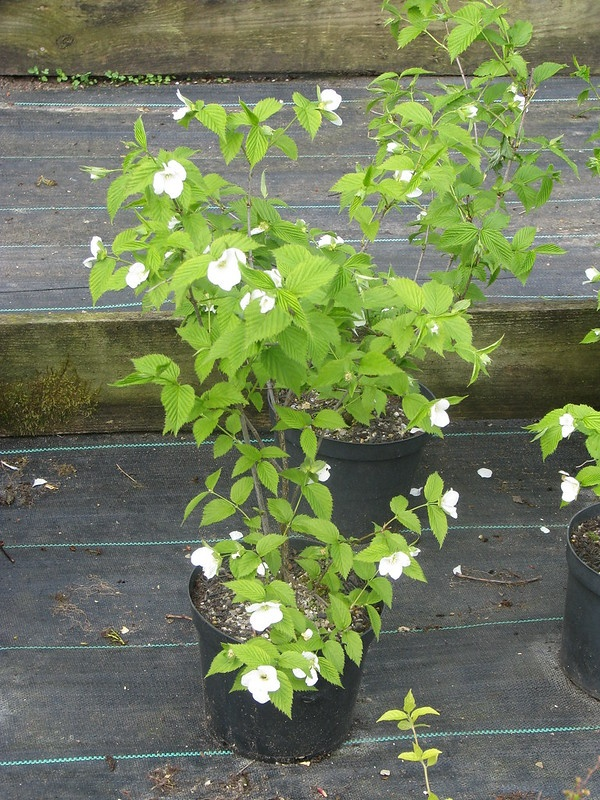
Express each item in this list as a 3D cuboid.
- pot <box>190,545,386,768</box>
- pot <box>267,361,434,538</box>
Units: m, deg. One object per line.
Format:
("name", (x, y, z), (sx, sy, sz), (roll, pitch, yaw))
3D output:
("pot", (-0.024, 0.693, 2.424), (0.566, 0.370, 0.560), (3, 22, -1))
("pot", (0.146, 0.162, 3.108), (0.616, 0.389, 0.564), (0, 20, 0))
